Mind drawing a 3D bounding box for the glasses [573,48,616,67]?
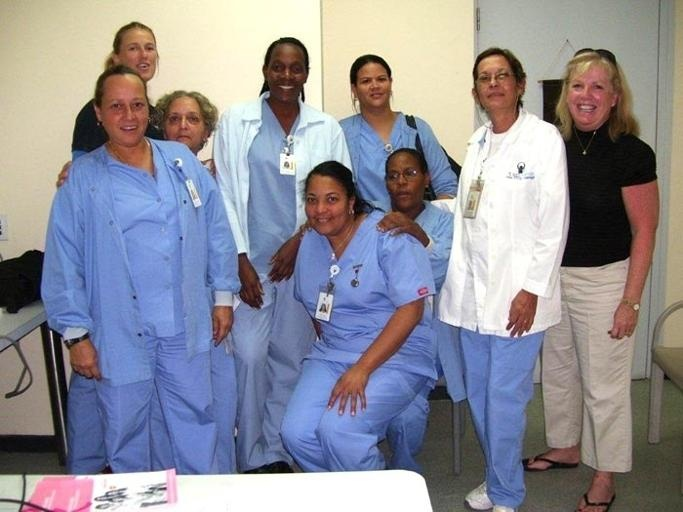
[{"bbox_3d":[1.203,-0.944,2.876,0.182,0.084,0.123,1,12,14],"label":"glasses"}]

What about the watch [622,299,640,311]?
[{"bbox_3d":[1.339,0.223,2.819,0.057,0.033,0.053,12,3,33],"label":"watch"}]

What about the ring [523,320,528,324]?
[{"bbox_3d":[0.825,0.291,2.720,0.024,0.013,0.017,1,1,-39],"label":"ring"}]

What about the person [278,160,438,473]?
[{"bbox_3d":[0.075,0.250,2.696,0.677,1.314,0.586,-1,12,8],"label":"person"}]

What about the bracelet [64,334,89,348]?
[{"bbox_3d":[-1.128,0.359,2.597,0.096,0.059,0.059,-8,13,-24],"label":"bracelet"}]

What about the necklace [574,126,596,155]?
[{"bbox_3d":[1.148,-0.533,2.843,0.093,0.114,0.052,2,13,21],"label":"necklace"}]

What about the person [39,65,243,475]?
[{"bbox_3d":[-0.905,0.276,2.871,0.835,2.129,0.572,-6,23,-19],"label":"person"}]

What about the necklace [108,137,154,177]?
[{"bbox_3d":[-0.900,-0.464,2.644,0.145,0.193,0.099,-15,-18,-29],"label":"necklace"}]

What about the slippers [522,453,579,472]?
[{"bbox_3d":[1.103,1.113,3.267,0.312,0.076,0.123,0,5,1],"label":"slippers"}]
